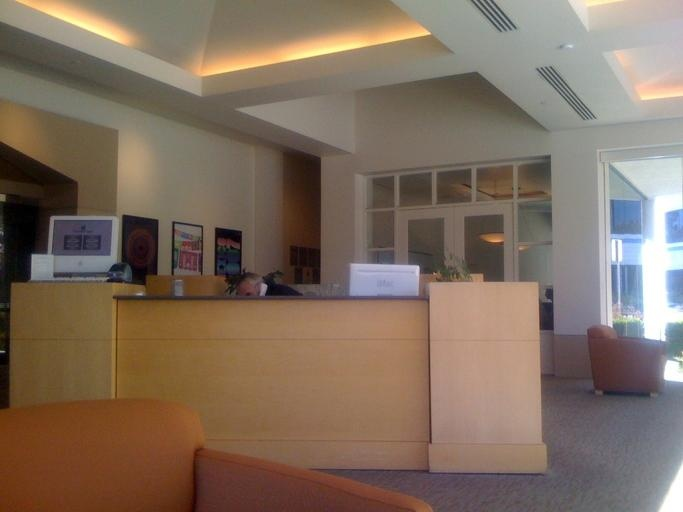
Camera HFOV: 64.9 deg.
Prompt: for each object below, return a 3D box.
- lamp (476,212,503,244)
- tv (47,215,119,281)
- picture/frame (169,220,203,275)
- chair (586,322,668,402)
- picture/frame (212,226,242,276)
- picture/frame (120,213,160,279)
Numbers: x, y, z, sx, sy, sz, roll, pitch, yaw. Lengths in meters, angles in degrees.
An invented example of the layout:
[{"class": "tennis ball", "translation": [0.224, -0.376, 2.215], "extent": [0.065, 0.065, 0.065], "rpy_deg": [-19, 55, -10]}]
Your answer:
[{"class": "lamp", "translation": [2.653, -0.486, 9.507], "extent": [0.457, 0.458, 0.116], "rpy_deg": [2, 0, 34]}, {"class": "tv", "translation": [-2.400, -0.057, 4.977], "extent": [0.502, 0.545, 0.170], "rpy_deg": [-1, -15, -5]}, {"class": "picture/frame", "translation": [-2.692, -0.147, 9.194], "extent": [0.043, 1.191, 0.834], "rpy_deg": [-2, -5, 32]}, {"class": "chair", "translation": [4.170, 1.482, 7.788], "extent": [1.161, 0.949, 1.193], "rpy_deg": [5, -8, -28]}, {"class": "picture/frame", "translation": [-2.140, -0.087, 9.885], "extent": [0.038, 1.152, 0.806], "rpy_deg": [2, 4, 38]}, {"class": "picture/frame", "translation": [-3.173, -0.108, 8.449], "extent": [0.170, 1.032, 0.772], "rpy_deg": [-1, -3, 23]}]
